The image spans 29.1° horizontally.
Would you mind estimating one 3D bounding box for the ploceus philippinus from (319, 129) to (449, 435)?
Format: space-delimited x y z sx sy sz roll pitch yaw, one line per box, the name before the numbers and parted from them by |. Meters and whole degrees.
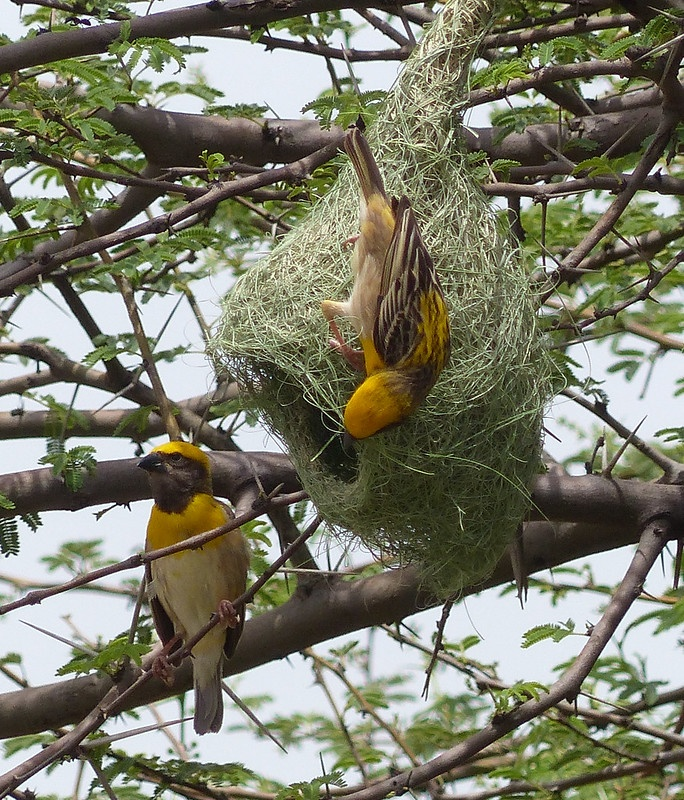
ploceus philippinus | 0.168 -0.328 3.886 0.425 0.860 0.301 3 2 13
